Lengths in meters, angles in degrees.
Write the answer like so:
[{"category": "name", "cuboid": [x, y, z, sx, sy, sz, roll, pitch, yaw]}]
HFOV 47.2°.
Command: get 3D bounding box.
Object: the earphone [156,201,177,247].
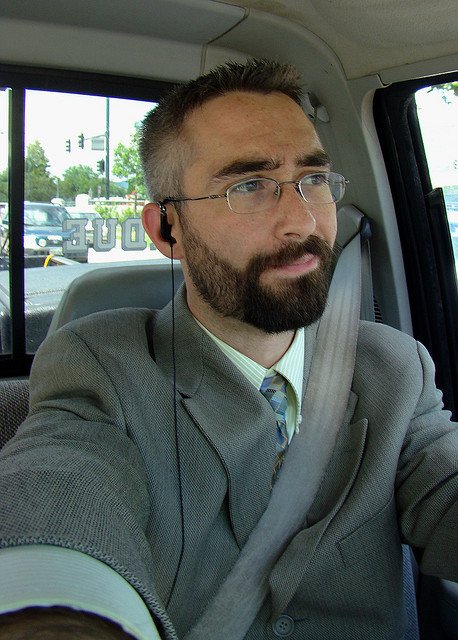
[{"category": "earphone", "cuboid": [-0.153, -0.237, 1.298, 0.024, 0.082, 0.080, -27, -1, 2]}]
